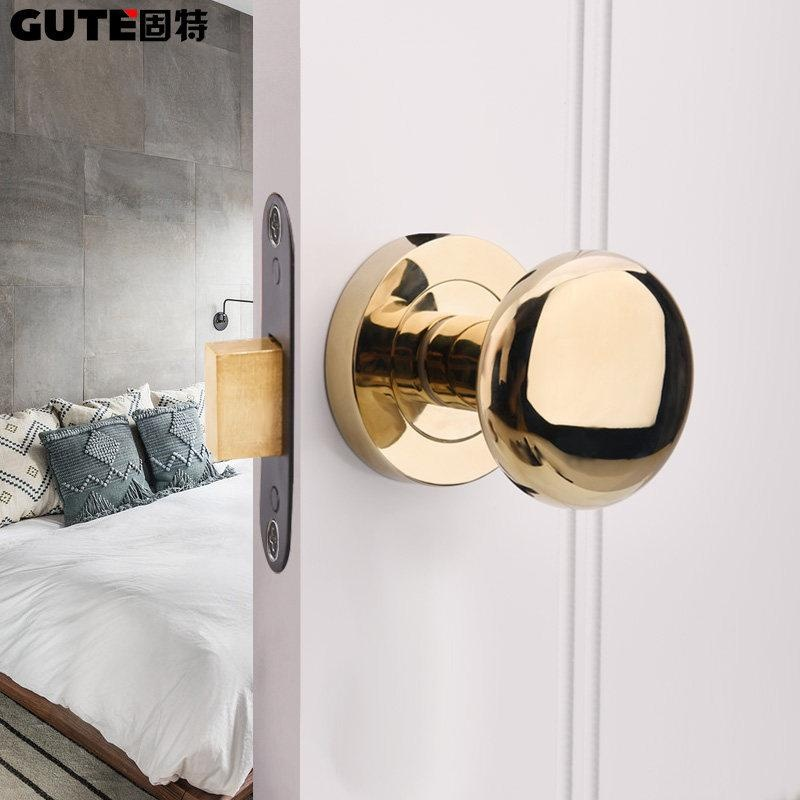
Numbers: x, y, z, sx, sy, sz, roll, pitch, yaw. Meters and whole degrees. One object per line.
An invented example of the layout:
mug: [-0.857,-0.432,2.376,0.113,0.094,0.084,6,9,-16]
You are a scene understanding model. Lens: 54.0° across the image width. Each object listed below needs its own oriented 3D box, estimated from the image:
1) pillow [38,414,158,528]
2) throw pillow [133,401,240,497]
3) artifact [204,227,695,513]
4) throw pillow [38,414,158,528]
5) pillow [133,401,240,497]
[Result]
pillow: [-1.018,0.230,2.631,0.096,0.340,0.331,-24,-9,29]
throw pillow: [-0.810,0.169,2.962,0.168,0.358,0.317,-16,-2,41]
artifact: [0.012,-0.009,0.211,0.089,0.061,0.065,-2,3,-32]
throw pillow: [-1.015,0.236,2.629,0.096,0.340,0.331,-24,-9,29]
pillow: [-0.815,0.174,2.953,0.165,0.358,0.319,-16,-3,39]
